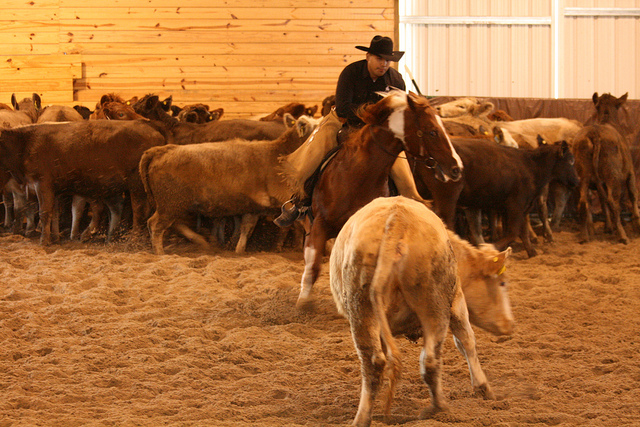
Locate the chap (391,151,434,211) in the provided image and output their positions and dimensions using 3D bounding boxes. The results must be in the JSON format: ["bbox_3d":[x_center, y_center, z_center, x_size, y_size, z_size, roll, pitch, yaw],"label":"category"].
[{"bbox_3d":[1.420,-0.546,16.369,0.514,1.099,0.872,1,-2,-10],"label":"chap"}]

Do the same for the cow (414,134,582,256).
[{"bbox_3d":[3.311,-0.314,18.651,3.882,2.299,1.020,0,4,-21],"label":"cow"}]

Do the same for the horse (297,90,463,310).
[{"bbox_3d":[1.979,-0.351,16.553,2.523,3.612,4.176,1,-8,-1],"label":"horse"}]

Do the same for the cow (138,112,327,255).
[{"bbox_3d":[-1.536,-0.393,18.988,3.739,2.373,1.262,-5,7,-12],"label":"cow"}]

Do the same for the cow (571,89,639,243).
[{"bbox_3d":[5.978,-0.991,20.507,1.367,3.010,1.759,4,7,27],"label":"cow"}]

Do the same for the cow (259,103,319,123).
[{"bbox_3d":[-0.612,-2.106,20.790,1.013,0.251,0.515,-23,6,-39],"label":"cow"}]

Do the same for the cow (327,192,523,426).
[{"bbox_3d":[1.473,1.380,14.447,2.403,3.225,1.179,-2,7,-21],"label":"cow"}]

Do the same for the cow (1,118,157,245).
[{"bbox_3d":[-4.726,-0.618,19.196,2.874,2.326,0.632,1,6,2],"label":"cow"}]

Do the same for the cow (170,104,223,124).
[{"bbox_3d":[-2.680,-2.134,21.324,0.927,0.515,0.289,-10,40,-4],"label":"cow"}]
